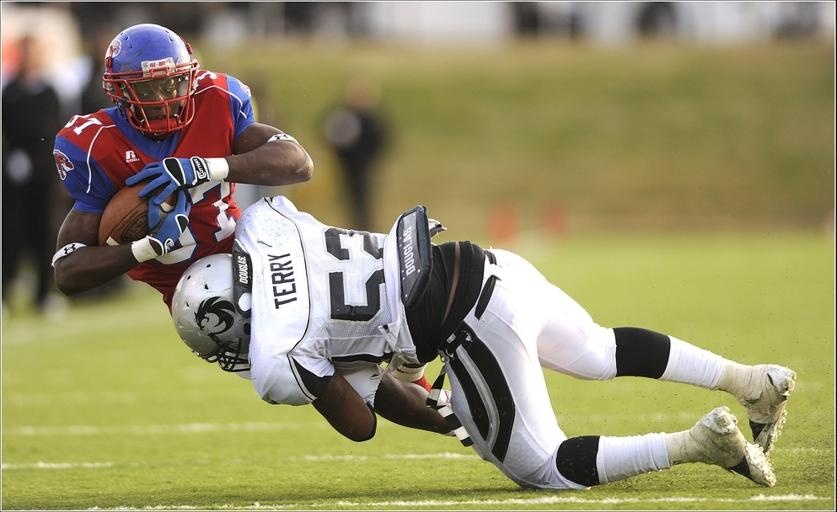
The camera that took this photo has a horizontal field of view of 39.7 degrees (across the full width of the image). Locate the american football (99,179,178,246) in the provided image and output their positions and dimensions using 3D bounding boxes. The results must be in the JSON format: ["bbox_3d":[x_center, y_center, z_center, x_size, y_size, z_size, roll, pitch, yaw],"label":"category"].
[{"bbox_3d":[-2.074,-0.306,8.536,0.566,0.333,0.372,-36,21,10],"label":"american football"}]

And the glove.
[{"bbox_3d":[-1.805,-0.380,8.538,0.636,0.811,0.300,37,7,-2],"label":"glove"}]
